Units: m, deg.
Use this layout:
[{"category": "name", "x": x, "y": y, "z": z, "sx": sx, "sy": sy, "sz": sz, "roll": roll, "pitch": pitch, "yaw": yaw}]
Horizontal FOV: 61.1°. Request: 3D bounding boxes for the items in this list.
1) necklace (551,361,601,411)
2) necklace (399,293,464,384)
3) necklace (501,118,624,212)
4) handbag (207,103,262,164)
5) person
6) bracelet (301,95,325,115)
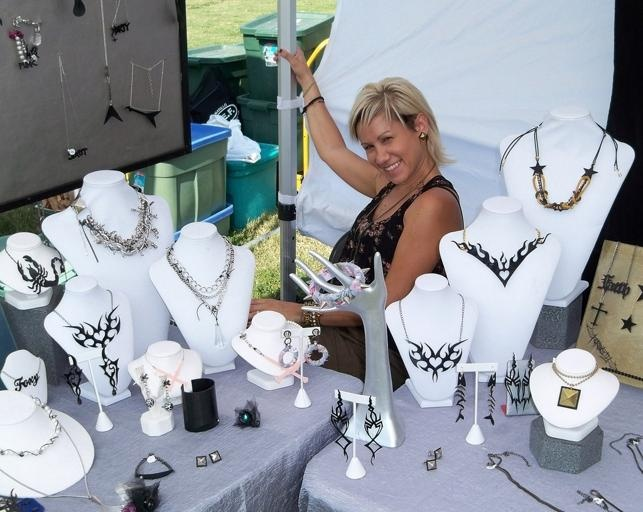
[{"category": "necklace", "x": 0.636, "y": 0.306, "z": 1.385, "sx": 0.101, "sy": 0.074, "sz": 0.149, "roll": 6, "pitch": 37, "yaw": 33}, {"category": "necklace", "x": 0.326, "y": 0.223, "z": 1.583, "sx": 0.192, "sy": 0.332, "sz": 0.010, "roll": -1, "pitch": 28, "yaw": 15}, {"category": "necklace", "x": 0.765, "y": -0.278, "z": 1.695, "sx": 0.339, "sy": 0.381, "sz": 0.094, "roll": 4, "pitch": 52, "yaw": 30}, {"category": "handbag", "x": -0.664, "y": -0.943, "z": 4.537, "sx": 0.361, "sy": 0.562, "sz": 0.155, "roll": 0, "pitch": -10, "yaw": 7}, {"category": "person", "x": 0.148, "y": -0.157, "z": 2.249, "sx": 0.769, "sy": 1.287, "sz": 0.762, "roll": 3, "pitch": 5, "yaw": -9}, {"category": "bracelet", "x": -0.045, "y": -0.766, "z": 2.722, "sx": 0.088, "sy": 0.025, "sz": 0.083, "roll": -32, "pitch": 8, "yaw": -11}]
